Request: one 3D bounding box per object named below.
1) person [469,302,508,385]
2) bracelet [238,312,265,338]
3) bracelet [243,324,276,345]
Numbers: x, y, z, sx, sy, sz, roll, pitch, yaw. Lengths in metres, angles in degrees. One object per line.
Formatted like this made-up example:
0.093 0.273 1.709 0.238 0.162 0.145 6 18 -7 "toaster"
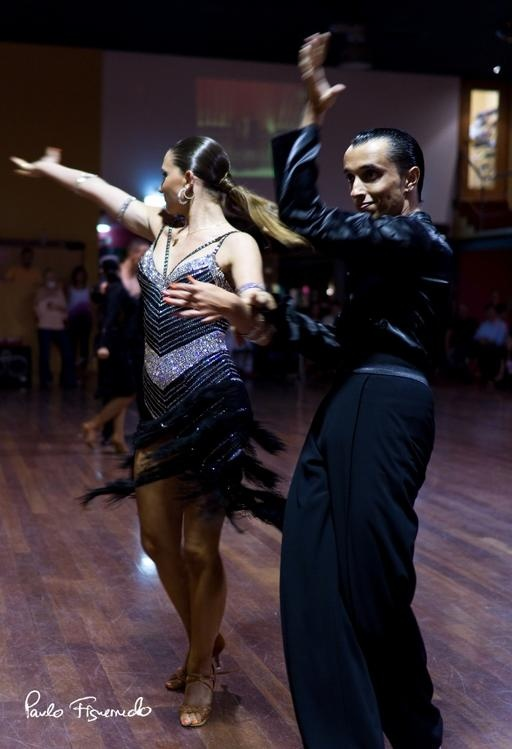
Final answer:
3.795 -0.481 10.983 0.258 1.274 0.559 1 3 -18 "person"
-0.008 -0.086 1.258 0.031 0.041 0.040 27 26 -33 "bracelet"
0.005 -0.074 1.262 0.047 0.036 0.039 7 10 34 "bracelet"
